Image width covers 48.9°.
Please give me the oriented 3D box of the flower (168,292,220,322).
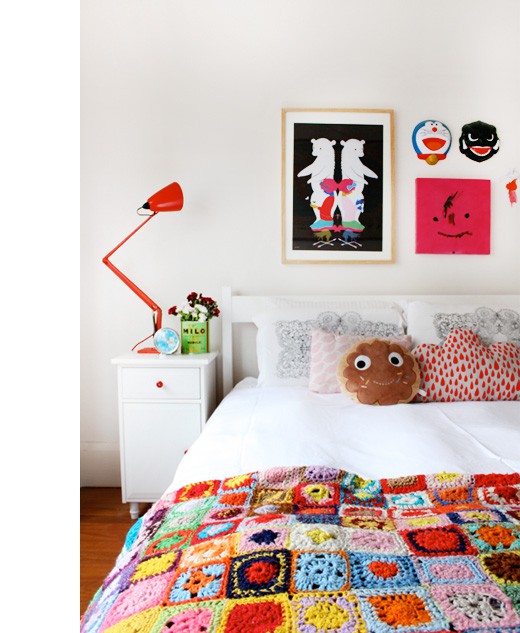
[{"bbox_3d":[-0.257,-0.032,2.351,0.164,0.097,0.141,0,4,1],"label":"flower"}]
